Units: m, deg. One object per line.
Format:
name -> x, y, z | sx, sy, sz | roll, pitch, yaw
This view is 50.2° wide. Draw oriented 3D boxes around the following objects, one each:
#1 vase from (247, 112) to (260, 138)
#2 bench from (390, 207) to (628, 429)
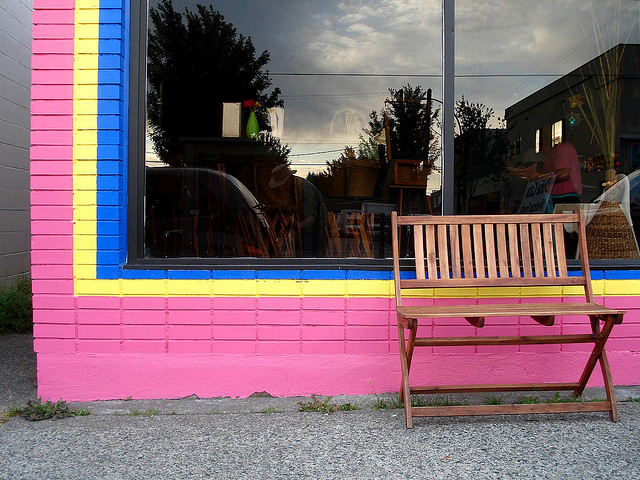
vase -> -0.650, -1.111, 6.556 | 0.115, 0.234, 0.273 | -2, 1, -6
bench -> 1.284, 0.515, 4.819 | 1.491, 1.394, 0.738 | -1, 3, -2
